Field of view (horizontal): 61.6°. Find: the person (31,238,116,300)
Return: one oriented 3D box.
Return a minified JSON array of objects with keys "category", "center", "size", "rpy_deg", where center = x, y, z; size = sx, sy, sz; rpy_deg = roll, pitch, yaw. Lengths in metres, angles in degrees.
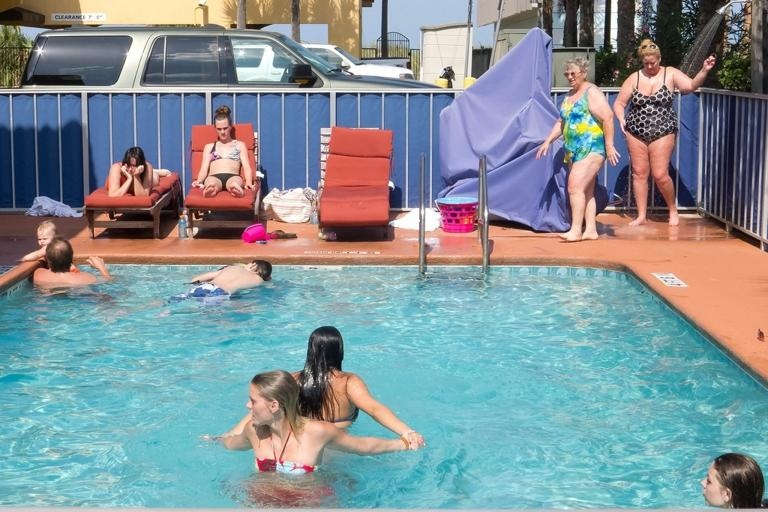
[{"category":"person","center":[-3.948,0.181,8.103],"size":[0.614,0.523,1.152],"rpy_deg":[3,-30,-11]}]

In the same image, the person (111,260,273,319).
[{"category":"person","center":[-2.188,0.295,7.581],"size":[1.787,0.443,0.571],"rpy_deg":[-20,42,-35]}]

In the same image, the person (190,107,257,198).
[{"category":"person","center":[-2.529,-1.688,10.070],"size":[0.953,1.354,1.280],"rpy_deg":[-4,11,-11]}]

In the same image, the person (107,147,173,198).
[{"category":"person","center":[-3.838,-1.353,9.970],"size":[0.668,0.380,0.930],"rpy_deg":[0,14,-1]}]

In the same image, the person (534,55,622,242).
[{"category":"person","center":[2.889,-1.539,9.237],"size":[0.620,2.607,1.089],"rpy_deg":[-11,15,-39]}]

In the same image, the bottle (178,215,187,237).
[{"category":"bottle","center":[-3.061,-0.464,9.746],"size":[0.136,0.341,0.159],"rpy_deg":[-7,12,-23]}]

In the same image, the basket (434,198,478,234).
[{"category":"basket","center":[1.176,-0.653,10.020],"size":[0.584,0.359,0.592],"rpy_deg":[0,3,0]}]

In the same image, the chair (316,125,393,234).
[{"category":"chair","center":[-0.416,-1.229,10.040],"size":[1.155,1.150,1.834],"rpy_deg":[1,24,0]}]

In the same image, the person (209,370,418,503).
[{"category":"person","center":[-0.493,1.294,4.481],"size":[1.064,0.739,0.268],"rpy_deg":[-1,0,9]}]

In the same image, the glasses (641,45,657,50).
[{"category":"glasses","center":[3.938,-3.116,9.446],"size":[0.246,0.076,0.083],"rpy_deg":[-8,13,-31]}]

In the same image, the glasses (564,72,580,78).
[{"category":"glasses","center":[2.695,-2.610,9.112],"size":[0.128,0.041,0.133],"rpy_deg":[2,-1,39]}]

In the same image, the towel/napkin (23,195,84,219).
[{"category":"towel/napkin","center":[-5.707,-0.838,11.107],"size":[0.679,0.185,0.477],"rpy_deg":[4,5,-2]}]

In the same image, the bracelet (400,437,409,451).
[{"category":"bracelet","center":[0.148,1.308,4.462],"size":[0.028,0.066,0.074],"rpy_deg":[-15,30,-14]}]

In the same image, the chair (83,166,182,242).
[{"category":"chair","center":[-3.989,-0.967,10.536],"size":[1.244,0.539,2.194],"rpy_deg":[0,19,-7]}]
